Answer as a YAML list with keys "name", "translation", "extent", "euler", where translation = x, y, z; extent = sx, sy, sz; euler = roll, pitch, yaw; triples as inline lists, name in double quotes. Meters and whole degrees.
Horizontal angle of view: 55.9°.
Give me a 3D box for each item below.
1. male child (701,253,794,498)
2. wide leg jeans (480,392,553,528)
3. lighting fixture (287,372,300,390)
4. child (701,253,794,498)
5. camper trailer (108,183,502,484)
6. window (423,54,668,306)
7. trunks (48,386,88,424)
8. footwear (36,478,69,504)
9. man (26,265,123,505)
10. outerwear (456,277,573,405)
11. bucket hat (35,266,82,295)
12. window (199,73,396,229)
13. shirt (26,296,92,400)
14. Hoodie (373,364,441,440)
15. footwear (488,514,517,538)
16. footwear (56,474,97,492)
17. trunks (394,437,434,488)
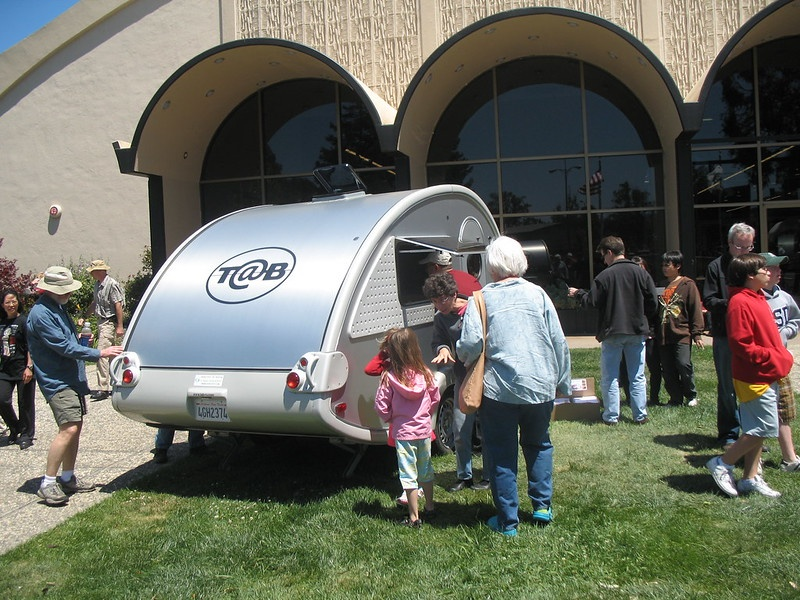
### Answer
- name: "male child"
  translation: [3.286, 0.714, 7.042]
  extent: [0.640, 2.155, 0.656]
  euler: [5, 13, 29]
- name: "wide leg jeans"
  translation: [1.048, 1.266, 6.724]
  extent: [0.596, 1.541, 0.479]
  euler: [-7, 16, -3]
- name: "lighting fixture"
  translation: [-0.983, 0.744, 6.954]
  extent: [0.131, 0.180, 0.065]
  euler: [0, -4, -1]
- name: "child"
  translation: [3.282, 0.714, 7.035]
  extent: [0.650, 2.158, 0.643]
  euler: [5, 13, 30]
- name: "camper trailer"
  translation: [-0.906, 0.176, 8.271]
  extent: [2.446, 2.278, 3.343]
  euler: [2, 8, 29]
- name: "window"
  translation: [3.416, -2.697, 17.970]
  extent: [5.413, 6.470, 0.220]
  euler: [2, 44, 18]
- name: "trunks"
  translation: [-3.284, 1.043, 7.618]
  extent: [0.181, 0.315, 0.313]
  euler: [-16, -14, 13]
- name: "footwear"
  translation: [-3.472, 1.904, 7.517]
  extent: [0.318, 0.169, 0.164]
  euler: [7, 6, 27]
- name: "man"
  translation: [-3.369, 0.839, 7.821]
  extent: [0.876, 2.335, 0.767]
  euler: [-1, -2, -36]
- name: "outerwear"
  translation: [1.057, 0.372, 6.800]
  extent: [1.003, 1.144, 0.712]
  euler: [-3, -8, -3]
- name: "bucket hat"
  translation: [-3.437, -0.128, 7.665]
  extent: [0.330, 0.142, 0.330]
  euler: [-12, 38, -36]
- name: "window"
  translation: [-2.038, -3.324, 15.721]
  extent: [3.397, 3.066, 0.180]
  euler: [-13, 7, 10]
- name: "shirt"
  translation: [-3.414, 0.475, 7.615]
  extent: [0.629, 1.021, 0.445]
  euler: [-6, 13, -18]
- name: "Hoodie"
  translation: [0.087, 0.897, 6.912]
  extent: [0.589, 0.798, 0.382]
  euler: [-6, 22, -9]
- name: "footwear"
  translation: [0.901, 1.974, 6.610]
  extent: [0.111, 0.111, 0.248]
  euler: [-17, 24, -32]
- name: "footwear"
  translation: [-3.321, 1.893, 7.735]
  extent: [0.372, 0.197, 0.152]
  euler: [7, 11, -26]
- name: "trunks"
  translation: [0.139, 1.473, 6.873]
  extent: [0.340, 0.553, 0.180]
  euler: [-6, 11, -7]
